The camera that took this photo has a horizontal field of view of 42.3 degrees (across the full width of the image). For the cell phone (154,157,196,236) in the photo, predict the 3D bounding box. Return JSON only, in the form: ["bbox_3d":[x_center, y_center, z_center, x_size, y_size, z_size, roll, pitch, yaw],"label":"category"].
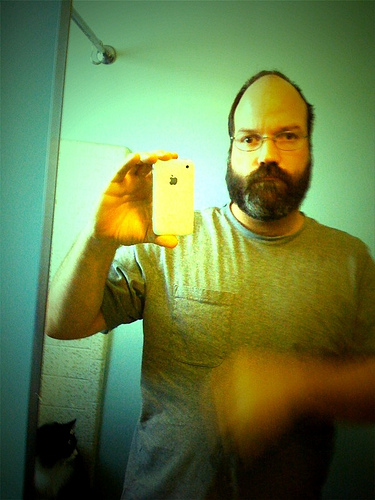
[{"bbox_3d":[-0.025,-0.088,0.853,0.072,0.138,0.023,3,10,-5],"label":"cell phone"}]

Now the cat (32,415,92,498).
[{"bbox_3d":[-0.298,0.436,1.066,0.157,0.163,0.111,1,-2,-38],"label":"cat"}]
